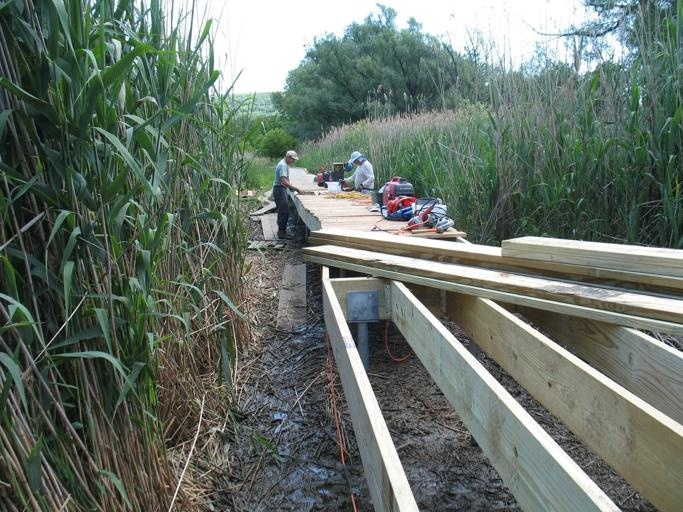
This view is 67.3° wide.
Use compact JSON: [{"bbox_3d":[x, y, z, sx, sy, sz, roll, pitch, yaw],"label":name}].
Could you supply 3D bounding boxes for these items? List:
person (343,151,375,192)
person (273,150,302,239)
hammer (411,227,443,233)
[{"bbox_3d":[0.252,-1.291,7.974,0.379,0.608,0.839,-3,12,-6],"label":"person"},{"bbox_3d":[-0.835,-0.930,7.775,0.387,1.260,1.414,-2,12,-5],"label":"person"},{"bbox_3d":[0.698,-0.211,4.178,0.237,0.032,0.215,-1,13,4],"label":"hammer"}]
